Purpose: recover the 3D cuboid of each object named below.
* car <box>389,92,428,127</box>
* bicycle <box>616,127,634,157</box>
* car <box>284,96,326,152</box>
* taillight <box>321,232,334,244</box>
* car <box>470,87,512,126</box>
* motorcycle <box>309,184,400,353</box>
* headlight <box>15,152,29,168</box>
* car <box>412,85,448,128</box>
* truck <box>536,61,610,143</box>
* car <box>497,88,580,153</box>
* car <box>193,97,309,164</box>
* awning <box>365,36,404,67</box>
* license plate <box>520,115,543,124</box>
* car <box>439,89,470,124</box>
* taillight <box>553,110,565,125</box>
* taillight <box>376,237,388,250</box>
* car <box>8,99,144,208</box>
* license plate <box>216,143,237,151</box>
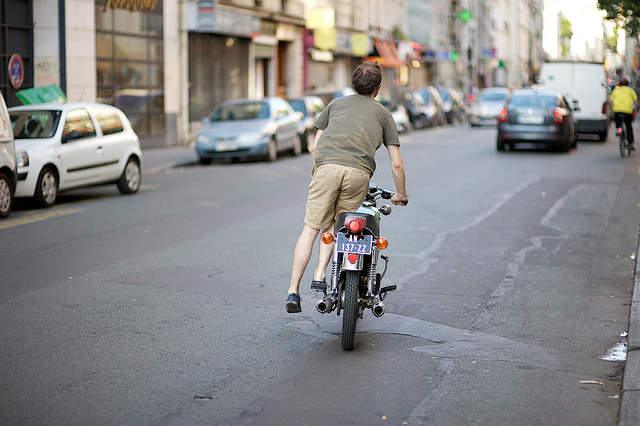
[{"bbox_3d":[4.762,-5.699,37.360,1.348,1.920,2.644,3,15,23],"label":"car"},{"bbox_3d":[8.277,-1.943,18.317,0.356,0.743,0.545,-8,12,-41],"label":"bicycle"},{"bbox_3d":[-0.488,-3.262,23.997,1.466,1.709,2.941,6,15,29],"label":"car"},{"bbox_3d":[0.068,0.228,6.036,0.113,0.123,0.146,-1,10,-1],"label":"taillight"},{"bbox_3d":[9.194,-5.783,36.585,1.471,1.757,3.552,0,4,14],"label":"car"},{"bbox_3d":[0.319,0.437,6.653,0.627,1.206,1.816,2,6,5],"label":"motorcycle"},{"bbox_3d":[-5.356,-0.954,12.114,0.231,0.199,0.376,-2,4,-19],"label":"headlight"},{"bbox_3d":[6.799,-6.373,40.630,1.439,2.339,5.090,2,11,14],"label":"car"},{"bbox_3d":[10.062,-4.623,26.823,2.533,2.729,5.019,2,11,18],"label":"truck"},{"bbox_3d":[6.589,-2.863,20.636,1.334,1.375,2.724,2,13,17],"label":"car"},{"bbox_3d":[-1.843,-2.597,21.429,1.596,1.476,4.047,1,4,16],"label":"car"},{"bbox_3d":[4.731,-11.964,49.811,1.325,2.020,6.032,3,12,19],"label":"awning"},{"bbox_3d":[6.124,-2.720,19.504,0.591,0.253,0.066,3,9,18],"label":"license plate"},{"bbox_3d":[9.004,-7.168,45.152,1.643,2.386,3.510,2,11,14],"label":"car"},{"bbox_3d":[6.814,-2.745,19.269,0.292,0.391,0.302,4,6,44],"label":"taillight"},{"bbox_3d":[0.552,0.267,5.984,0.075,0.095,0.048,-2,-3,8],"label":"taillight"},{"bbox_3d":[-4.981,-1.321,13.503,1.475,1.481,2.643,2,1,29],"label":"car"},{"bbox_3d":[-2.723,-1.935,19.669,0.610,0.222,0.080,2,9,11],"label":"license plate"}]
